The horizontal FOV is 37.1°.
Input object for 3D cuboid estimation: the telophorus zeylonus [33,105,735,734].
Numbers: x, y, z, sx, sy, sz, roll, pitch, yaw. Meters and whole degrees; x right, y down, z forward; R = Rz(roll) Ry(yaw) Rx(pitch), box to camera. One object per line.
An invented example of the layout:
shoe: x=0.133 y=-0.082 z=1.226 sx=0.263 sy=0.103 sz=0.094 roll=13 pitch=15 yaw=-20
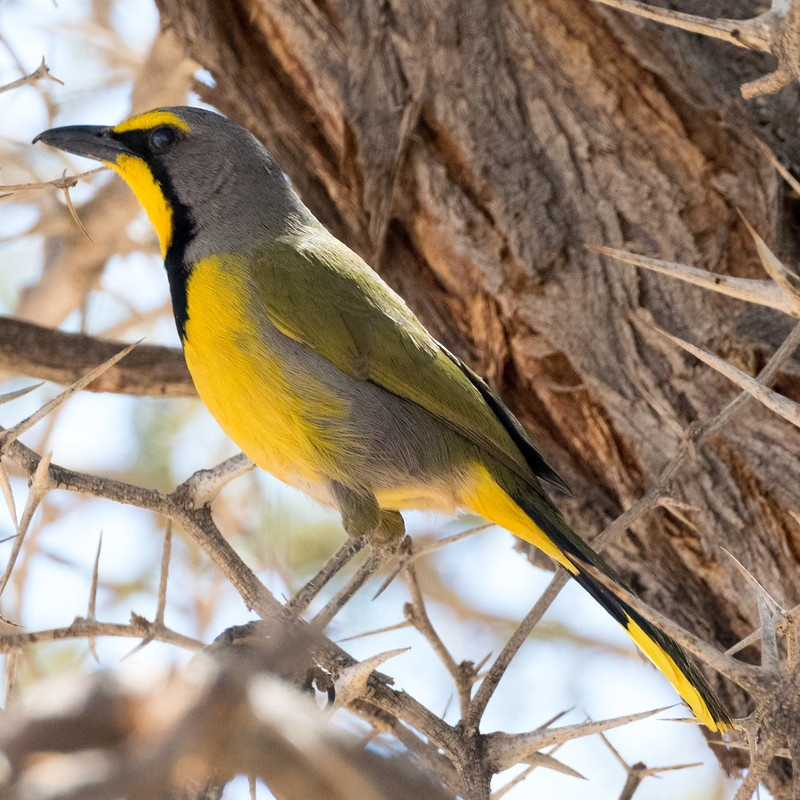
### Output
telophorus zeylonus: x=-0.079 y=-0.057 z=4.693 sx=2.882 sy=0.878 sz=1.734 roll=13 pitch=-107 yaw=-15
